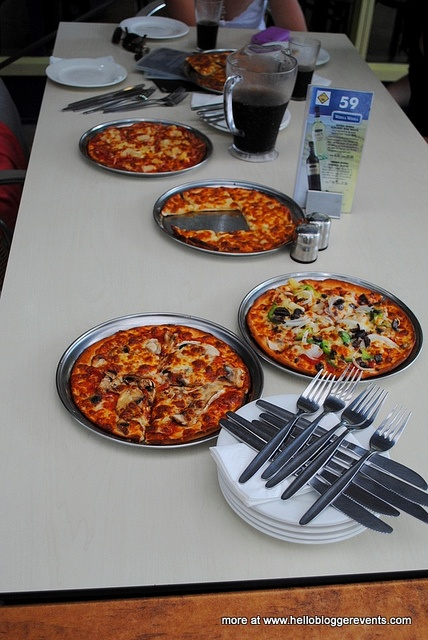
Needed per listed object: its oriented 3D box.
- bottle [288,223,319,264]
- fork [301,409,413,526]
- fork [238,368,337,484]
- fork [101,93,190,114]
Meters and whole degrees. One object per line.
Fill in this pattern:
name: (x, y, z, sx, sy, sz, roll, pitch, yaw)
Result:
bottle: (0.172, -0.142, 1.011, 0.051, 0.066, 0.049, 0, 46, 0)
fork: (0.143, 0.155, 0.550, 0.025, 0.020, 0.197, 20, 38, 33)
fork: (0.083, 0.123, 0.604, 0.020, 0.019, 0.169, 18, 37, 28)
fork: (-0.222, -0.678, 1.674, 0.293, 0.042, 0.049, -11, 61, -9)
